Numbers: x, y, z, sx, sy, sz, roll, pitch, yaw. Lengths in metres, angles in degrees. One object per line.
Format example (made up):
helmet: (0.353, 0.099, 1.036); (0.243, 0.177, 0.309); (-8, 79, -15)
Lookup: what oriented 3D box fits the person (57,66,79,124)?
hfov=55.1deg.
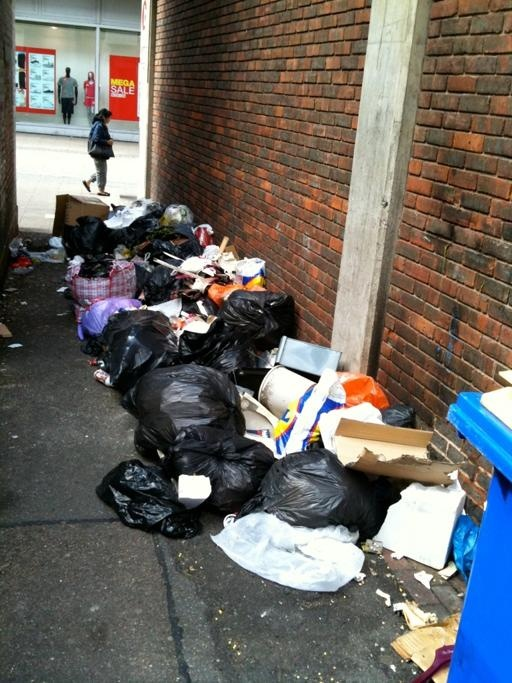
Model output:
person: (-7.721, -10.038, 20.212); (0.784, 2.071, 0.641); (9, 18, 7)

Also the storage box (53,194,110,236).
storage box: (-2.661, -1.919, 7.374); (0.592, 0.453, 0.598); (16, 7, 38)

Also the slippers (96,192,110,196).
slippers: (-3.532, -3.375, 11.323); (0.214, 0.075, 0.118); (3, 12, 9)

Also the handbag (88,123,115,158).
handbag: (-3.326, -4.325, 10.598); (0.475, 0.763, 0.416); (1, 18, -16)

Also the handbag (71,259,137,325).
handbag: (-1.592, -0.506, 5.277); (0.658, 0.622, 0.644); (1, 2, -9)
